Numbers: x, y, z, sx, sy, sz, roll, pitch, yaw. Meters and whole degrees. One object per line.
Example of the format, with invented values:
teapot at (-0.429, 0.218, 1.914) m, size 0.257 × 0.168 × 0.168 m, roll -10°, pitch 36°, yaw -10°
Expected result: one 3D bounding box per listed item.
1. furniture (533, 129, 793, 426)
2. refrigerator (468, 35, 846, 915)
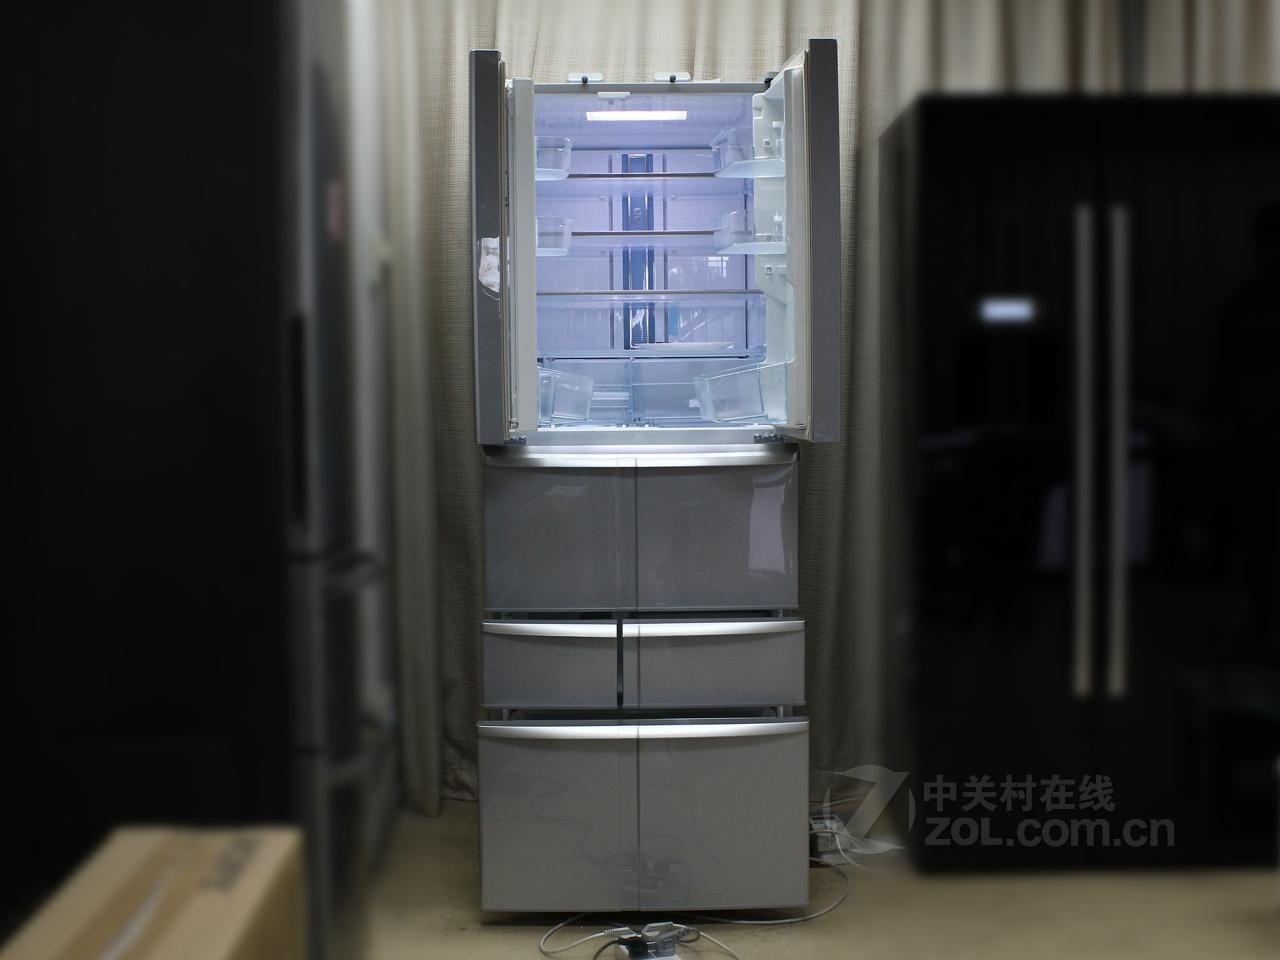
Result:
furniture at (0.060, -0.450, 2.619) m, size 0.567 × 0.927 × 0.286 m, roll -1°, pitch 4°, yaw 2°
refrigerator at (0.022, 0.015, 2.555) m, size 0.732 × 1.731 × 0.450 m, roll -1°, pitch 7°, yaw -1°
